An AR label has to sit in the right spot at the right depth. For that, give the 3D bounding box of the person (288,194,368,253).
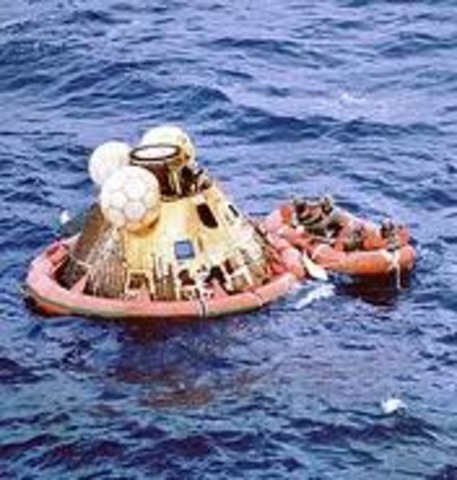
[{"bbox_3d":[2.290,-0.378,16.028,1.855,1.172,0.632,31,65,6],"label":"person"}]

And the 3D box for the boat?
[{"bbox_3d":[2.180,0.080,15.614,1.943,0.538,2.925,-15,25,-37],"label":"boat"}]
